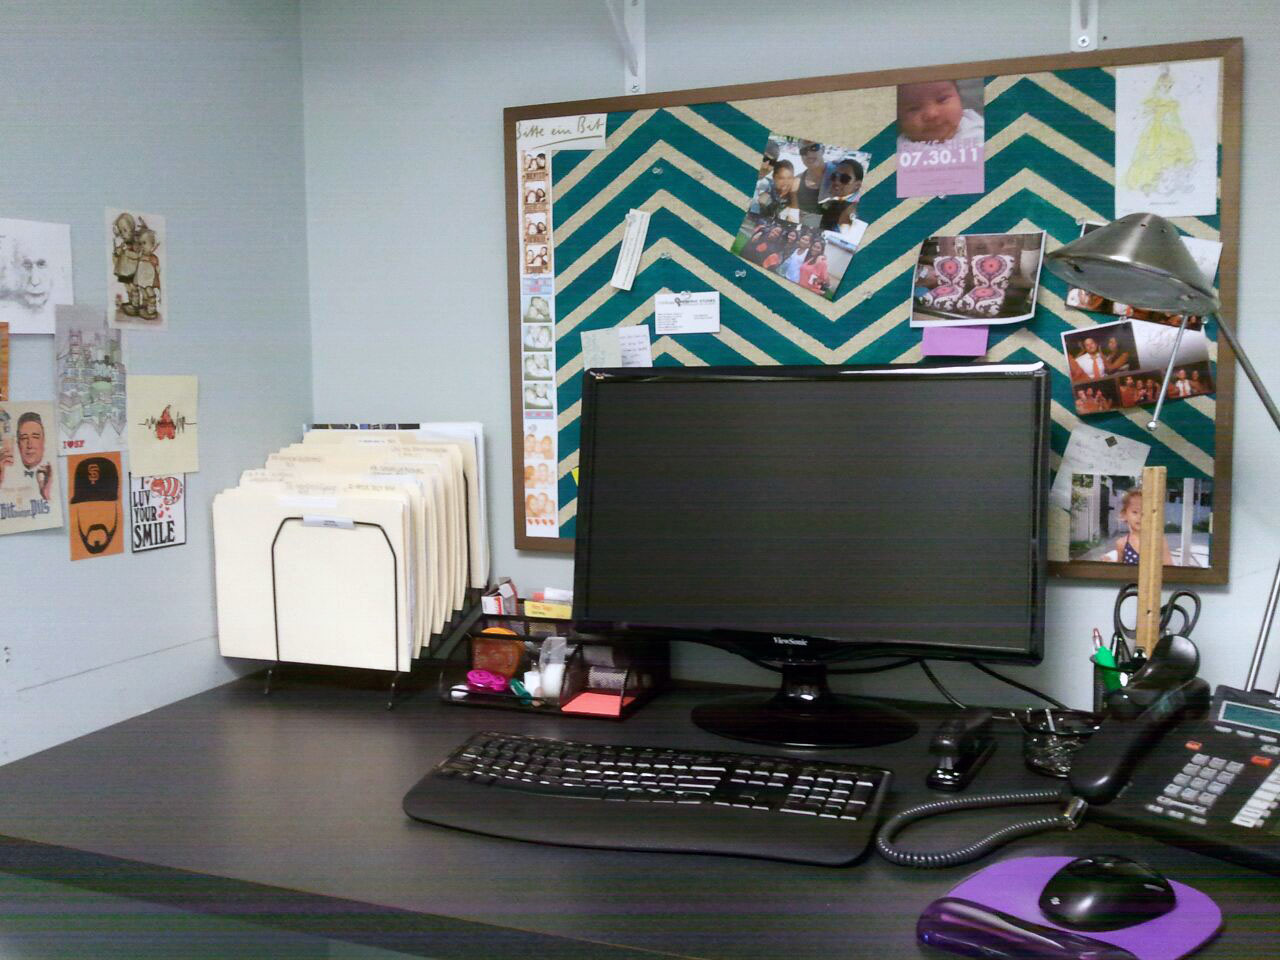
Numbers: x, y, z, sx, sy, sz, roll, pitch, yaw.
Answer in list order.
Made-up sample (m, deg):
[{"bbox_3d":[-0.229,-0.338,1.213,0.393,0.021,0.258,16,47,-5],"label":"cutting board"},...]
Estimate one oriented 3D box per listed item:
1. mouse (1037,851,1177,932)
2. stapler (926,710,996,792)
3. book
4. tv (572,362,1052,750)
[{"bbox_3d":[0.488,0.427,1.175,0.105,0.030,0.069,-1,12,3],"label":"mouse"},{"bbox_3d":[0.438,0.367,1.515,0.050,0.057,0.170,0,6,26],"label":"stapler"},{"bbox_3d":[-0.515,0.111,2.009,0.492,0.428,0.397,-1,1,18],"label":"book"},{"bbox_3d":[0.256,0.101,1.632,0.604,0.415,0.224,0,-4,15],"label":"tv"}]
